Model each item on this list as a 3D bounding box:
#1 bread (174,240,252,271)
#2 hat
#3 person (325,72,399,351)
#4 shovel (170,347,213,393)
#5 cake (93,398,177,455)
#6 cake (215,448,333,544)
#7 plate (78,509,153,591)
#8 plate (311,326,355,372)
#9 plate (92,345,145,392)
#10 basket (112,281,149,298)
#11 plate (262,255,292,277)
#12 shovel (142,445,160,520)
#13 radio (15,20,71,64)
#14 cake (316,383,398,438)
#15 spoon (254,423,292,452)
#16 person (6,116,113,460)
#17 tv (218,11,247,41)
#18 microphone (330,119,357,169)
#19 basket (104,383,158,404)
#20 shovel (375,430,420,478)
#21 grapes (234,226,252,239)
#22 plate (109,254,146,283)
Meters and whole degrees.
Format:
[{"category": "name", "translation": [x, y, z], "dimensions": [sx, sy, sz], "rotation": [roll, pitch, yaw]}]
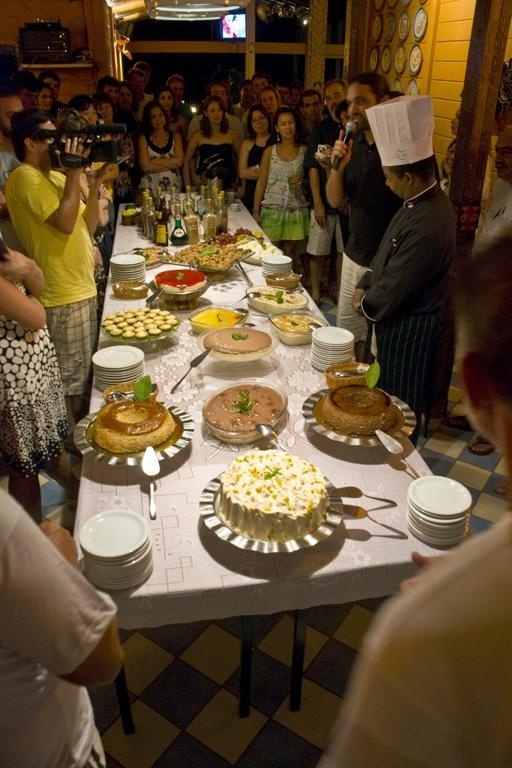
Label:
[{"category": "bread", "translation": [-0.339, -1.018, 4.183], "dimensions": [0.703, 0.133, 0.895], "rotation": [-8, 22, -26]}, {"category": "hat", "translation": [0.888, -1.541, 3.290], "dimensions": [0.420, 0.428, 0.492], "rotation": [-13, 34, 19]}, {"category": "person", "translation": [0.815, -1.394, 4.466], "dimensions": [0.551, 2.124, 0.579], "rotation": [0, 25, -6]}, {"category": "shovel", "translation": [-0.380, -0.028, 2.684], "dimensions": [0.058, 0.516, 0.079], "rotation": [-25, 80, -42]}, {"category": "cake", "translation": [-0.504, 0.151, 2.080], "dimensions": [0.239, 0.082, 0.229], "rotation": [-2, 34, -12]}, {"category": "cake", "translation": [0.038, 0.349, 1.792], "dimensions": [0.351, 0.216, 0.361], "rotation": [-1, 22, -5]}, {"category": "plate", "translation": [-0.424, 0.499, 1.556], "dimensions": [0.194, 0.129, 0.217], "rotation": [-2, 27, -7]}, {"category": "plate", "translation": [0.408, -0.197, 2.768], "dimensions": [0.237, 0.167, 0.233], "rotation": [1, 26, -1]}, {"category": "plate", "translation": [-0.680, -0.105, 2.586], "dimensions": [0.282, 0.207, 0.318], "rotation": [-5, 21, -20]}, {"category": "basket", "translation": [-0.867, -0.639, 3.577], "dimensions": [0.155, 0.054, 0.149], "rotation": [-13, 24, -33]}, {"category": "plate", "translation": [0.154, -0.917, 4.007], "dimensions": [0.214, 0.119, 0.210], "rotation": [20, 33, 34]}, {"category": "shovel", "translation": [-0.397, 0.353, 1.911], "dimensions": [0.061, 0.045, 0.287], "rotation": [0, 53, -10]}, {"category": "radio", "translation": [-3.585, -5.680, 8.705], "dimensions": [0.819, 0.593, 0.161], "rotation": [1, 27, -2]}, {"category": "cake", "translation": [0.409, 0.094, 2.227], "dimensions": [0.304, 0.195, 0.258], "rotation": [-4, 21, -11]}, {"category": "spoon", "translation": [0.041, 0.223, 2.174], "dimensions": [0.052, 0.040, 0.263], "rotation": [36, -4, -40]}, {"category": "person", "translation": [-1.274, -0.679, 3.425], "dimensions": [0.656, 1.903, 1.001], "rotation": [-6, 25, -20]}, {"category": "tv", "translation": [-0.634, -9.564, 13.928], "dimensions": [0.457, 0.552, 1.661], "rotation": [-2, 27, -9]}, {"category": "microphone", "translation": [0.645, -1.808, 3.966], "dimensions": [0.101, 0.377, 0.073], "rotation": [37, 37, 7]}, {"category": "basket", "translation": [-0.583, 0.045, 2.362], "dimensions": [0.183, 0.071, 0.116], "rotation": [-3, 33, -12]}, {"category": "shovel", "translation": [0.560, 0.265, 2.090], "dimensions": [0.167, 0.168, 0.170], "rotation": [12, 25, 15]}, {"category": "grapes", "translation": [-0.128, -1.365, 4.741], "dimensions": [0.148, 0.060, 0.163], "rotation": [-3, 30, -4]}, {"category": "plate", "translation": [-0.955, -0.831, 3.858], "dimensions": [0.238, 0.109, 0.244], "rotation": [3, 25, -2]}]
